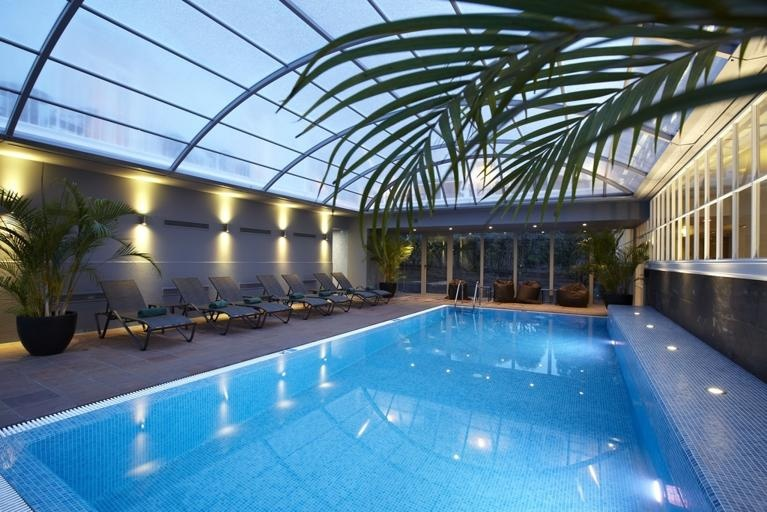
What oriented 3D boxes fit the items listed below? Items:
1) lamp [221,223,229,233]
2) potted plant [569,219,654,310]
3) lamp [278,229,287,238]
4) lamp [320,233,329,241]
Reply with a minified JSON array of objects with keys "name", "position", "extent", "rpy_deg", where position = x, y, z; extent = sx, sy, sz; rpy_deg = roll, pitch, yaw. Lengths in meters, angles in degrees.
[{"name":"lamp","position":[-4.746,-0.852,13.180],"extent":[0.236,0.310,0.276],"rpy_deg":[0,-1,0]},{"name":"potted plant","position":[6.806,0.346,13.171],"extent":[1.781,2.130,0.994],"rpy_deg":[11,15,37]},{"name":"lamp","position":[-3.474,-0.786,15.159],"extent":[0.221,0.326,0.246],"rpy_deg":[1,4,-16]},{"name":"lamp","position":[-2.261,-0.721,17.142],"extent":[0.238,0.413,0.438],"rpy_deg":[-1,-2,20]}]
